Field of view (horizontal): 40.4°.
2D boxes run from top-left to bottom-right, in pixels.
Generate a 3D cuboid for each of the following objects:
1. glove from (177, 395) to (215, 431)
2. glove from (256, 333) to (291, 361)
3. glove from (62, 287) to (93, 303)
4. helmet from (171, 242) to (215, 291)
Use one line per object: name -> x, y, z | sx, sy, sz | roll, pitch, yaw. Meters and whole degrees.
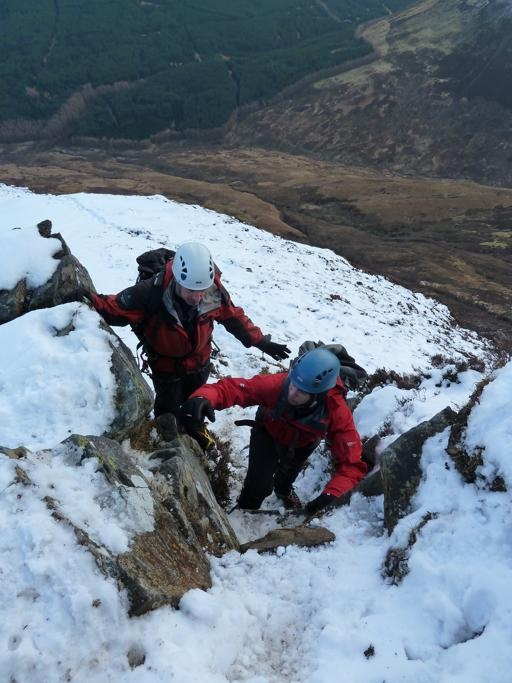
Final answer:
glove -> -0.458, 0.620, 5.617 | 0.250, 0.263, 0.308 | -6, 31, -16
glove -> 0.208, 0.093, 8.549 | 0.445, 0.293, 0.152 | 20, 32, -13
glove -> -1.463, -0.380, 5.758 | 0.137, 0.062, 0.175 | -7, 20, -32
helmet -> -0.551, -0.689, 5.999 | 0.416, 0.282, 0.504 | -5, 42, -21
